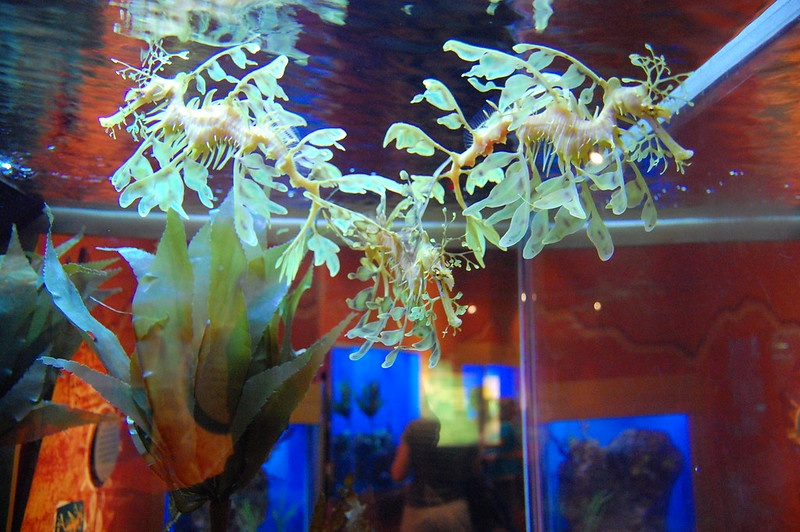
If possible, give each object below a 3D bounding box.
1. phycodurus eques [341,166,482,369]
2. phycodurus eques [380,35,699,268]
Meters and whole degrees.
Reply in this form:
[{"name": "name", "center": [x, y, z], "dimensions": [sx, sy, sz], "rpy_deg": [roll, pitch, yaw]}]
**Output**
[{"name": "phycodurus eques", "center": [0.042, 0.003, 1.883], "dimensions": [0.470, 0.536, 0.206], "rpy_deg": [6, 9, 11]}, {"name": "phycodurus eques", "center": [0.310, -0.300, 1.642], "dimensions": [0.658, 0.587, 0.237], "rpy_deg": [11, 8, 13]}]
